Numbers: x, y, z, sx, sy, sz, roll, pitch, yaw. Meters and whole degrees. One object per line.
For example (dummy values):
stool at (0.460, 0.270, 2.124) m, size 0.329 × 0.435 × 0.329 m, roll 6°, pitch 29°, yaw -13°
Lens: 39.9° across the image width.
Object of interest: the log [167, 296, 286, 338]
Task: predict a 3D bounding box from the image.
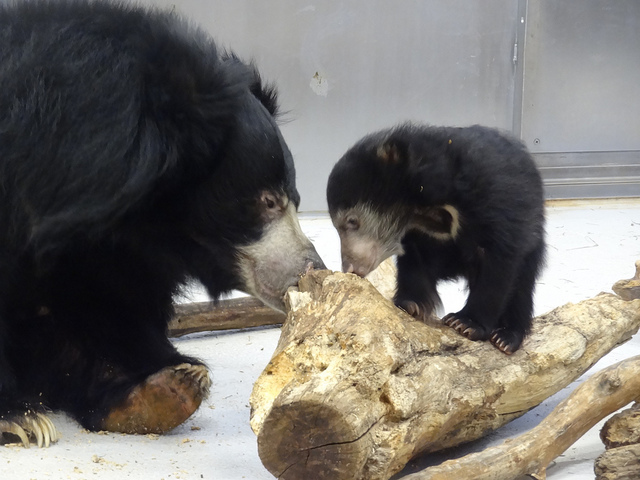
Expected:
log at (-0.603, 0.472, 5.524) m, size 0.517 × 0.137 × 0.101 m, roll -3°, pitch 54°, yaw -17°

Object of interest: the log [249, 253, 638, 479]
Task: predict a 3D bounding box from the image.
log at (0.490, 0.579, 3.977) m, size 1.760 × 0.830 × 0.671 m, roll -9°, pitch 17°, yaw -26°

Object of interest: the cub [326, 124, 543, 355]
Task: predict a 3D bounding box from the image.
cub at (0.672, -0.174, 4.531) m, size 1.037 × 1.343 × 0.772 m, roll -16°, pitch 19°, yaw -42°
